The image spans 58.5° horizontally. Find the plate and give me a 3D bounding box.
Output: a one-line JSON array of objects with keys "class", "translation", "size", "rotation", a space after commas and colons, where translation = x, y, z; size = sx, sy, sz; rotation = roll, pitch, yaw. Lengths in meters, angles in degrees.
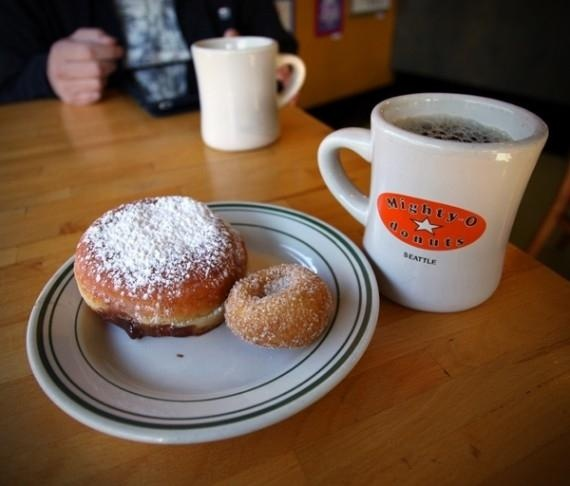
[{"class": "plate", "translation": [-0.075, 0.005, 0.634], "size": [0.361, 0.221, 0.329], "rotation": [1, 21, 14]}]

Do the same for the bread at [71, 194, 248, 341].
[{"class": "bread", "translation": [-0.171, -0.006, 0.692], "size": [0.222, 0.157, 0.191], "rotation": [-19, 20, -42]}]

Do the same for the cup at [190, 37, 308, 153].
[{"class": "cup", "translation": [-0.073, -0.322, 1.018], "size": [0.228, 0.212, 0.157], "rotation": [-12, 38, -15]}]

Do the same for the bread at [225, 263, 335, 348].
[{"class": "bread", "translation": [-0.011, 0.066, 0.636], "size": [0.146, 0.083, 0.117], "rotation": [-10, 24, -32]}]
